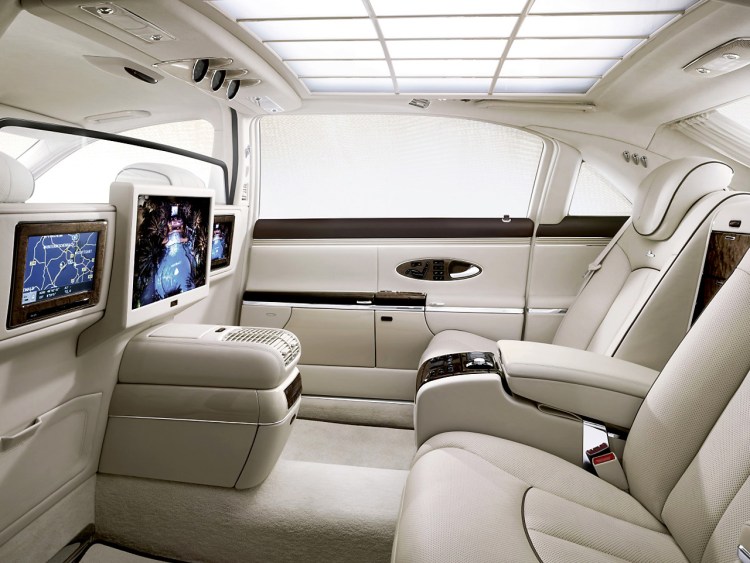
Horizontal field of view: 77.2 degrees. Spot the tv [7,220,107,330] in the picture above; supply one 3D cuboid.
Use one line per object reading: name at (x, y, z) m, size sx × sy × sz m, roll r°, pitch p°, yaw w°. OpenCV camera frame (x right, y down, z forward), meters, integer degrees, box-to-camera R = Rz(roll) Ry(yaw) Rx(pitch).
tv at (-0.993, -0.030, 1.454) m, size 0.034 × 0.273 × 0.352 m, roll 13°, pitch 6°, yaw 14°
